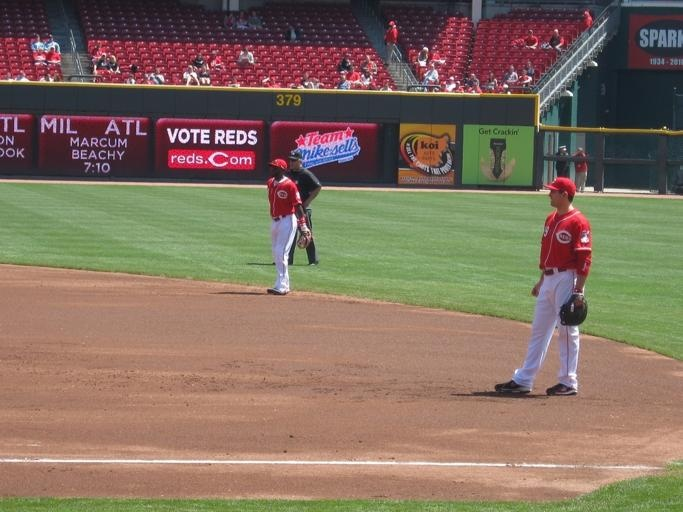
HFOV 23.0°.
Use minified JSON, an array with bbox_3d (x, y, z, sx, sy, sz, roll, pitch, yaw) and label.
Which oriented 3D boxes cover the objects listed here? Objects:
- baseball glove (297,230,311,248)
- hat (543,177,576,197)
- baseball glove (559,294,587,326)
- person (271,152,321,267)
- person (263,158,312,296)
[{"bbox_3d":[-0.980,-0.396,41.659,0.322,0.430,0.423,-1,8,11],"label":"baseball glove"},{"bbox_3d":[4.703,-1.492,35.899,0.586,0.302,0.419,11,9,9],"label":"hat"},{"bbox_3d":[4.935,1.164,35.688,0.549,0.701,0.208,1,4,3],"label":"baseball glove"},{"bbox_3d":[-1.082,-1.307,43.168,1.125,2.673,1.013,1,13,-4],"label":"person"},{"bbox_3d":[-1.322,-0.716,40.861,1.093,3.201,1.495,2,1,-10],"label":"person"}]
